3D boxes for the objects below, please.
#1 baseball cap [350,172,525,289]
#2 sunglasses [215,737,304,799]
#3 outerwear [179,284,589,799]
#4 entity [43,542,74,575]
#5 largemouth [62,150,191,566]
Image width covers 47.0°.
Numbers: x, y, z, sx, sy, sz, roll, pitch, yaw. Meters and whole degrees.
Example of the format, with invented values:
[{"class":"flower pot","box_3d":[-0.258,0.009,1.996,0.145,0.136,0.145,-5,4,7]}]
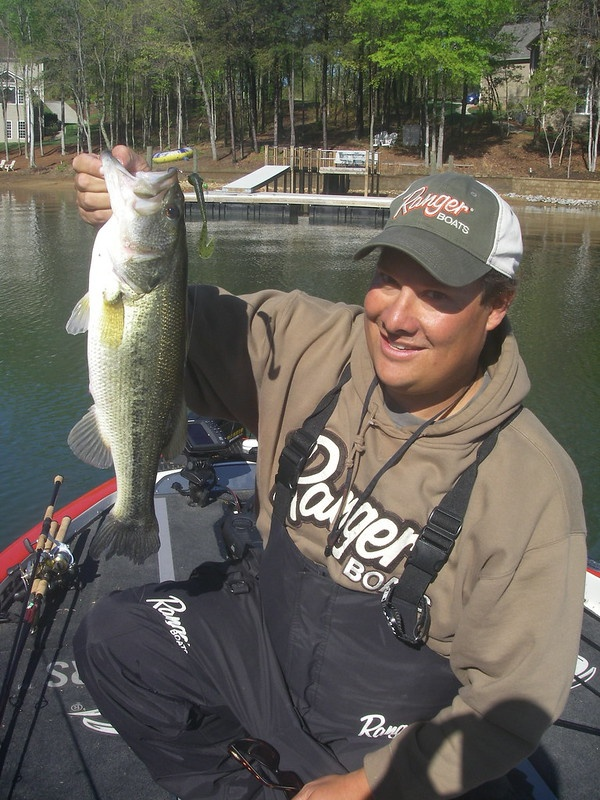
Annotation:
[{"class":"baseball cap","box_3d":[0.410,-0.499,1.961,0.548,0.259,0.425,-5,25,-42]},{"class":"sunglasses","box_3d":[-0.123,1.073,2.071,0.276,0.074,0.090,16,28,35]},{"class":"outerwear","box_3d":[0.487,0.438,2.306,1.383,0.554,1.489,15,53,19]},{"class":"entity","box_3d":[-1.288,0.849,3.713,0.151,0.173,0.179,3,34,-11]},{"class":"largemouth","box_3d":[-0.603,-0.124,2.042,0.458,1.115,0.383,-4,21,-23]}]
